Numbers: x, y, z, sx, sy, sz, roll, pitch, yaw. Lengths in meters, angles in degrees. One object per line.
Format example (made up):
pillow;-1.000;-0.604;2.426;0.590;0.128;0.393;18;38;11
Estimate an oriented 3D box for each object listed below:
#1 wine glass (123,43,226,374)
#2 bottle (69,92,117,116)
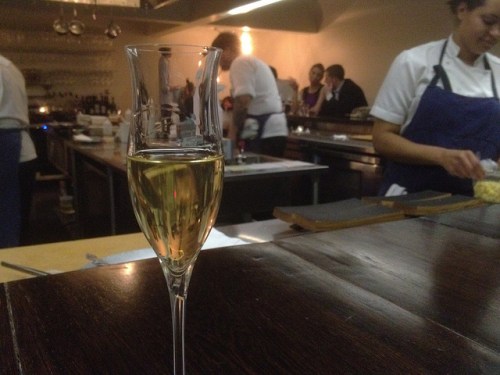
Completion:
wine glass;-0.057;0.030;0.301;0.080;0.283;0.068;-4;13;-19
bottle;-1.127;-0.576;2.625;0.184;0.198;0.191;3;9;8
